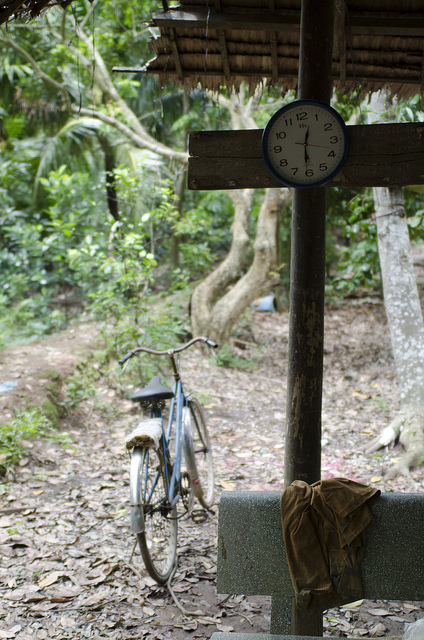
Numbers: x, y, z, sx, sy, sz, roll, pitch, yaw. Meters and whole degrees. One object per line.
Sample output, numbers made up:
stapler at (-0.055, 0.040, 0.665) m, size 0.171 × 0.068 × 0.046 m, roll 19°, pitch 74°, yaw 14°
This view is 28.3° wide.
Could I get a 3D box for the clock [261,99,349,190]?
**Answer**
clock at (0.549, -1.037, 4.929) m, size 0.523 × 0.517 × 0.199 m, roll 2°, pitch 26°, yaw 3°
